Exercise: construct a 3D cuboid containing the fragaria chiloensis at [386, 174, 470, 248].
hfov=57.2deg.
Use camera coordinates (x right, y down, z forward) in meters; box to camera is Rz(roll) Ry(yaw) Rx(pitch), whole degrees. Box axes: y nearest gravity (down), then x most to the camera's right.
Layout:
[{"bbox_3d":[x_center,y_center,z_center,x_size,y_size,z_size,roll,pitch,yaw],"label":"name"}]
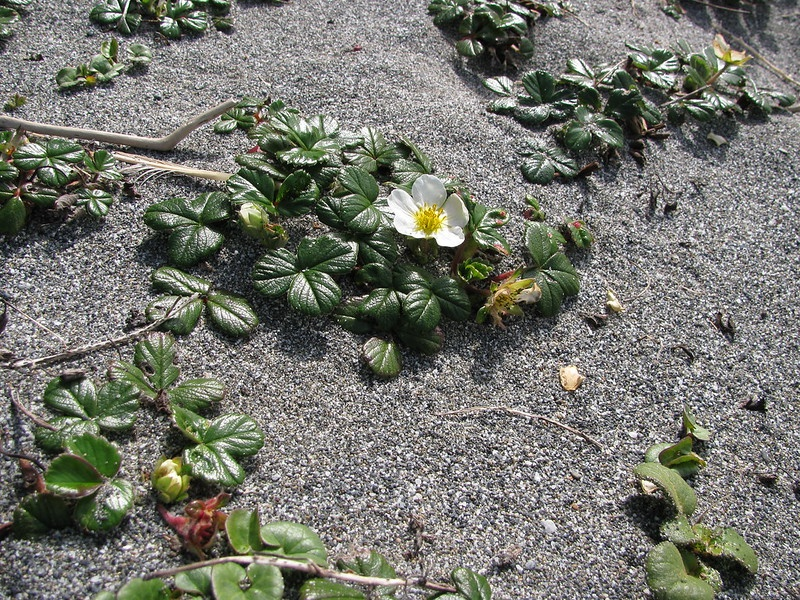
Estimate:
[{"bbox_3d":[0.238,-0.621,4.949,0.533,0.659,0.255,8,83,12],"label":"fragaria chiloensis"}]
